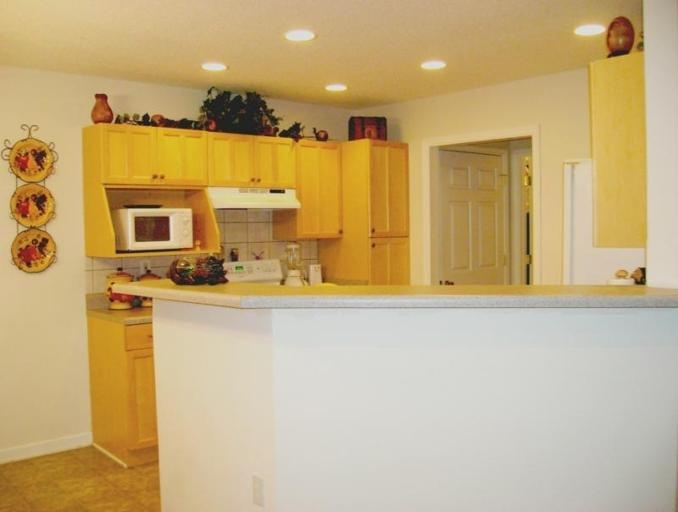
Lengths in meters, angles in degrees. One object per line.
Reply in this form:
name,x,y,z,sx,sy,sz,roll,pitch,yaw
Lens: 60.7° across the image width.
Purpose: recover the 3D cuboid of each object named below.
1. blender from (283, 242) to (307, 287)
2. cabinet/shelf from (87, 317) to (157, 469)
blender,-0.407,0.079,5.305,0.206,0.390,0.584,-2,4,-4
cabinet/shelf,-1.648,0.959,4.321,0.658,1.086,0.215,1,5,37
